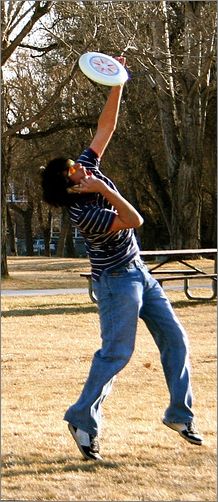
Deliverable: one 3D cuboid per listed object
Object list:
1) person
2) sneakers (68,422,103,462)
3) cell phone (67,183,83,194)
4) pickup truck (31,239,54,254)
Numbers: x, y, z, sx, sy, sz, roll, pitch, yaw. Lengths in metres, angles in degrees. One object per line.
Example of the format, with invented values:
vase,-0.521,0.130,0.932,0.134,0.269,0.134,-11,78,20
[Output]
person,0.078,0.327,4.803,0.926,1.852,0.447,-2,4,-15
sneakers,-0.133,1.170,4.769,0.127,0.310,0.099,-33,-10,13
cell phone,-0.214,-0.386,4.671,0.061,0.056,0.049,-27,4,7
pickup truck,-5.702,-0.444,64.180,1.308,0.806,2.471,-2,9,-3
